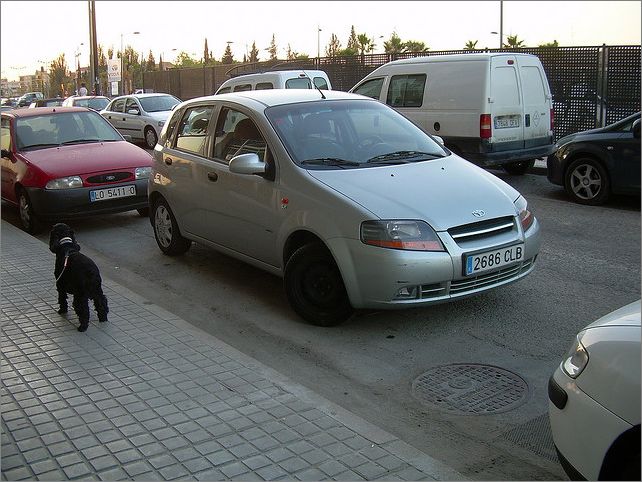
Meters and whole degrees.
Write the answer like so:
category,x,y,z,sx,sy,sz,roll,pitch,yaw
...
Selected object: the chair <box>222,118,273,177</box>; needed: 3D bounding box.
category,x,y,z,sx,sy,sz,roll,pitch,yaw
chair,-0.896,-1.084,4.961,0.551,0.417,0.908,-5,33,-13
